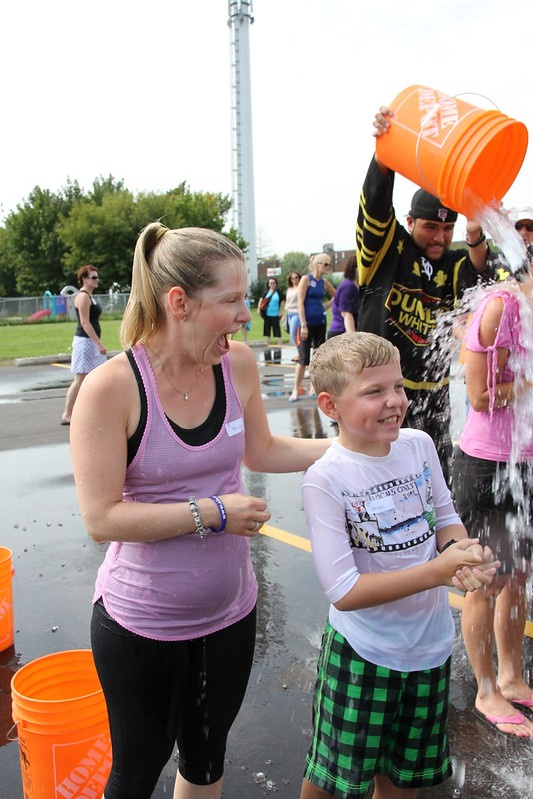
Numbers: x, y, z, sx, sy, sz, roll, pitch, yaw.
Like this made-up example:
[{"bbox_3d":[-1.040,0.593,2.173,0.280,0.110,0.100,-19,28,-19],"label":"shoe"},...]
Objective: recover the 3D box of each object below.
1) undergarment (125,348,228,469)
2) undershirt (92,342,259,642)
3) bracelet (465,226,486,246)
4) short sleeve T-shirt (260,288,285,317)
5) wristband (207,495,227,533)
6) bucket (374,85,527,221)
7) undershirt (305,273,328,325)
[{"bbox_3d":[-0.214,0.023,1.434,0.206,0.256,0.099,-13,5,-37],"label":"undergarment"},{"bbox_3d":[-0.199,0.203,1.540,0.423,0.639,0.329,-4,8,-16],"label":"undershirt"},{"bbox_3d":[0.922,-0.705,2.759,0.084,0.073,0.077,-2,11,9],"label":"bracelet"},{"bbox_3d":[0.128,-2.571,16.630,0.822,1.005,0.580,3,5,5],"label":"short sleeve T-shirt"},{"bbox_3d":[-0.105,0.251,1.356,0.018,0.063,0.068,-1,-21,-14],"label":"wristband"},{"bbox_3d":[0.629,-0.871,2.173,0.515,0.481,0.408,-1,11,13],"label":"bucket"},{"bbox_3d":[0.687,-1.499,9.333,0.317,0.694,0.426,11,15,36],"label":"undershirt"}]
